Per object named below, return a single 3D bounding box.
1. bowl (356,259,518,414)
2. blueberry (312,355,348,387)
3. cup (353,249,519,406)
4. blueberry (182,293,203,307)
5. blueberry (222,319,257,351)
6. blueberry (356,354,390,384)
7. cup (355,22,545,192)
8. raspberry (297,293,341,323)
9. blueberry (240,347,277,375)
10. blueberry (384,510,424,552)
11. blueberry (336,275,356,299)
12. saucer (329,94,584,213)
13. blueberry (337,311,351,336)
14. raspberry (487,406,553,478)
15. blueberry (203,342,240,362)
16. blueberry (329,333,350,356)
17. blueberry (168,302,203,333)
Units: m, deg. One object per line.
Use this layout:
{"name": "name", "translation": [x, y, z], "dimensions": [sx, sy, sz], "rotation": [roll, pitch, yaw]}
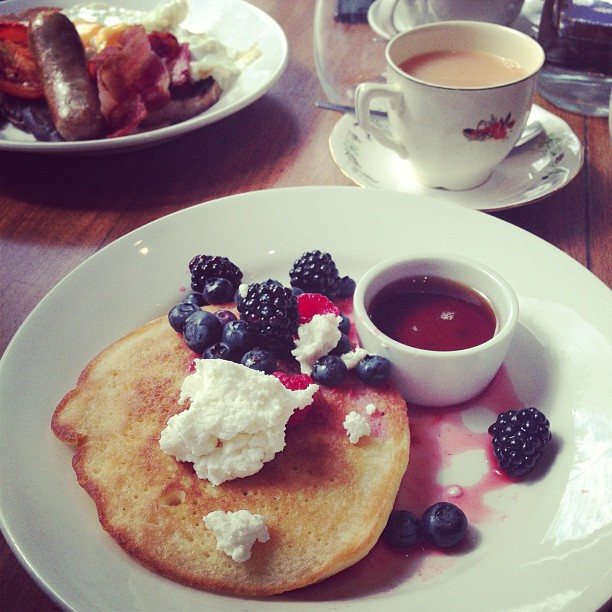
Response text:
{"name": "bowl", "translation": [0.241, 0.036, 1.394], "dimensions": [0.305, 0.167, 0.265], "rotation": [-27, 61, -24]}
{"name": "blueberry", "translation": [0.041, 0.123, 1.322], "dimensions": [0.070, 0.045, 0.055], "rotation": [-3, 60, 1]}
{"name": "cup", "translation": [0.254, 0.054, 1.452], "dimensions": [0.360, 0.179, 0.301], "rotation": [-8, 48, -3]}
{"name": "blueberry", "translation": [-0.237, -0.015, 1.493], "dimensions": [0.036, 0.038, 0.028], "rotation": [-11, 79, 11]}
{"name": "blueberry", "translation": [-0.129, 0.059, 1.381], "dimensions": [0.045, 0.040, 0.043], "rotation": [30, 53, 31]}
{"name": "blueberry", "translation": [0.127, 0.116, 1.308], "dimensions": [0.065, 0.038, 0.053], "rotation": [-4, 43, -1]}
{"name": "cup", "translation": [0.321, -0.461, 1.658], "dimensions": [0.438, 0.273, 0.323], "rotation": [-23, 53, -13]}
{"name": "raspberry", "translation": [0.025, 0.000, 1.426], "dimensions": [0.082, 0.056, 0.086], "rotation": [-4, 52, -2]}
{"name": "blueberry", "translation": [-0.085, 0.103, 1.335], "dimensions": [0.058, 0.053, 0.048], "rotation": [22, 76, 6]}
{"name": "blueberry", "translation": [0.159, 0.365, 1.135], "dimensions": [0.069, 0.031, 0.057], "rotation": [-3, 56, 0]}
{"name": "blueberry", "translation": [0.086, -0.043, 1.504], "dimensions": [0.048, 0.045, 0.042], "rotation": [-4, 21, -2]}
{"name": "saucer", "translation": [0.366, -0.369, 1.742], "dimensions": [0.613, 0.078, 0.413], "rotation": [1, 51, 1]}
{"name": "blueberry", "translation": [0.075, 0.036, 1.418], "dimensions": [0.039, 0.024, 0.040], "rotation": [0, 60, 1]}
{"name": "raspberry", "translation": [0.363, 0.236, 1.218], "dimensions": [0.110, 0.066, 0.106], "rotation": [-1, 70, 45]}
{"name": "blueberry", "translation": [-0.170, 0.089, 1.365], "dimensions": [0.051, 0.023, 0.043], "rotation": [5, 45, 19]}
{"name": "blueberry", "translation": [0.072, 0.075, 1.365], "dimensions": [0.048, 0.042, 0.042], "rotation": [0, 95, 6]}
{"name": "blueberry", "translation": [-0.251, 0.015, 1.457], "dimensions": [0.074, 0.058, 0.062], "rotation": [5, 31, 8]}
